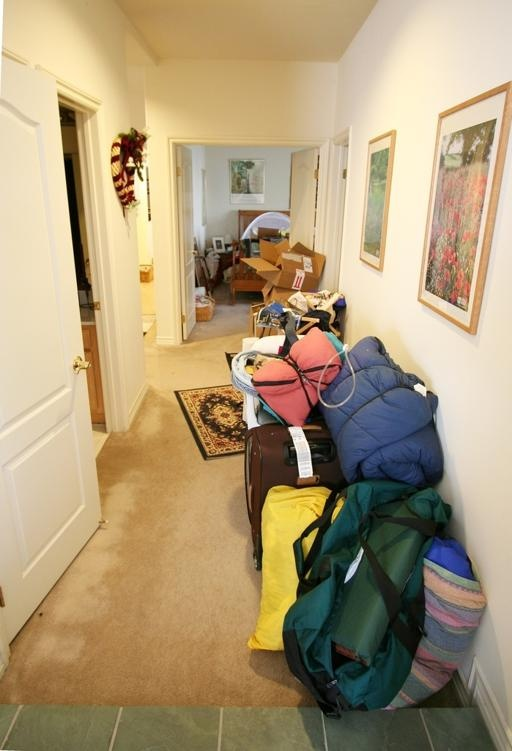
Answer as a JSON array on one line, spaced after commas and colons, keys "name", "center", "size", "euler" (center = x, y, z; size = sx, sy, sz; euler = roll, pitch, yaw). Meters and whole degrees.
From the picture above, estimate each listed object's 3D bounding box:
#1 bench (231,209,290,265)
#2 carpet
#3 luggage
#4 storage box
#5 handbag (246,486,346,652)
[{"name": "bench", "center": [-0.063, -2.145, 8.269], "size": [0.597, 1.066, 0.672], "euler": [18, 8, -3]}, {"name": "carpet", "center": [-0.263, 0.327, 3.817], "size": [0.474, 0.987, 0.021], "euler": [-7, 54, 5]}, {"name": "luggage", "center": [0.138, 0.467, 2.264], "size": [0.367, 0.617, 0.343], "euler": [0, 33, -7]}, {"name": "storage box", "center": [0.270, -0.792, 4.654], "size": [0.718, 0.885, 0.619], "euler": [1, 10, 9]}, {"name": "handbag", "center": [0.143, 0.703, 1.880], "size": [0.405, 0.501, 0.139], "euler": [1, -13, 29]}]
